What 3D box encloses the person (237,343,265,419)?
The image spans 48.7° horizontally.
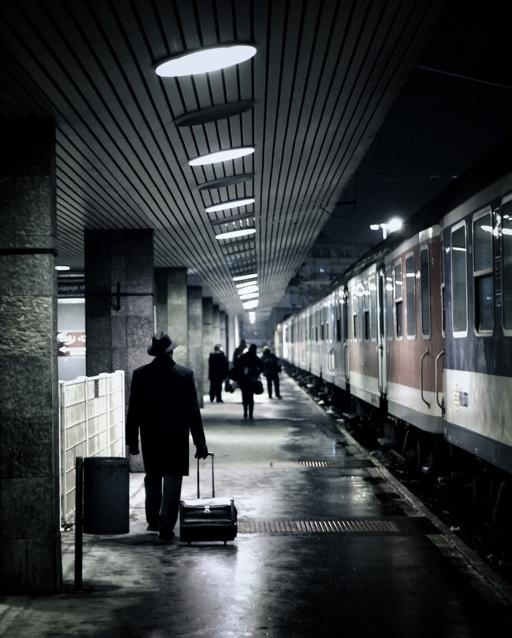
[{"bbox_3d":[-0.204,1.825,16.344,0.735,2.152,1.595,-1,-4,0],"label":"person"}]

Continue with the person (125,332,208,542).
[{"bbox_3d":[-0.835,1.008,5.103,0.538,2.081,0.441,-1,21,-15],"label":"person"}]

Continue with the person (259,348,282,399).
[{"bbox_3d":[0.627,2.052,23.351,0.583,2.690,0.795,-5,34,3],"label":"person"}]
